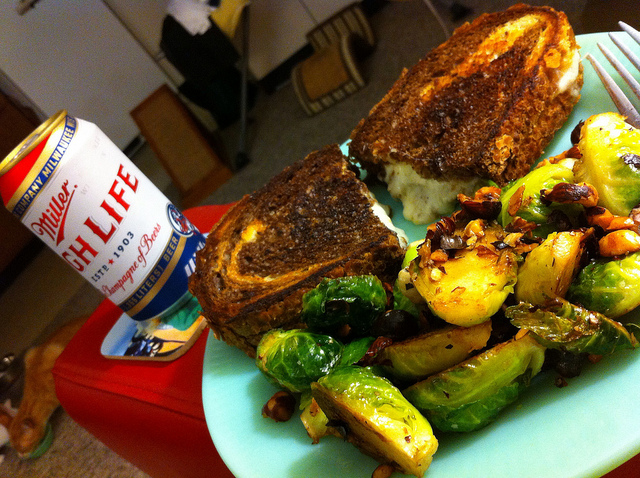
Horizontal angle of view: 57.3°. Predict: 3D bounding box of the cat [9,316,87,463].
[{"bbox_3d":[-1.184,0.678,2.668,0.173,0.263,0.621,10,77,15],"label":"cat"}]
